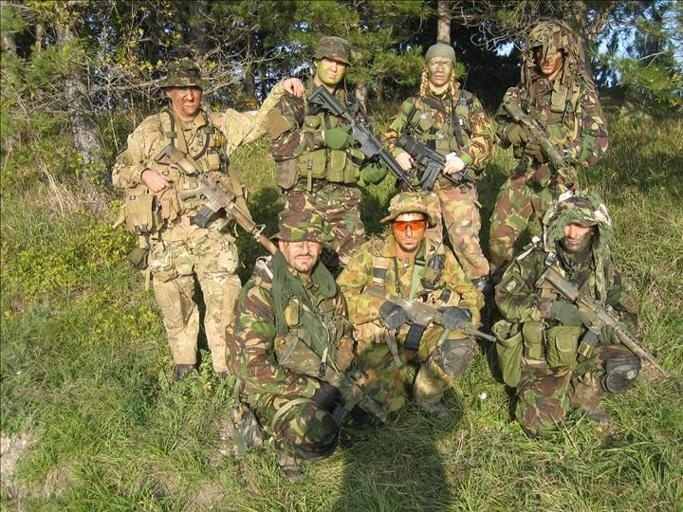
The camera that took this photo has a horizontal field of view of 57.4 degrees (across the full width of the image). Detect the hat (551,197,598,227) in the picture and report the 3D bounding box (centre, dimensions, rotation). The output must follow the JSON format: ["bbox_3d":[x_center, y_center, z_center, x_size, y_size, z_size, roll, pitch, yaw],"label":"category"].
[{"bbox_3d":[2.667,-0.496,7.182,0.509,0.264,0.353,10,33,19],"label":"hat"}]

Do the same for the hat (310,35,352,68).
[{"bbox_3d":[-0.060,-2.534,7.905,0.407,0.251,0.411,9,22,-32],"label":"hat"}]

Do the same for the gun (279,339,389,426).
[{"bbox_3d":[-0.126,1.430,6.932,1.147,1.087,0.258,3,28,8],"label":"gun"}]

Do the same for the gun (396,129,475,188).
[{"bbox_3d":[1.264,-1.300,8.342,1.009,0.445,0.142,39,4,18],"label":"gun"}]

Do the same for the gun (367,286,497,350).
[{"bbox_3d":[0.999,0.736,7.414,1.210,0.186,0.565,22,64,25],"label":"gun"}]

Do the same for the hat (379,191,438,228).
[{"bbox_3d":[0.833,-0.556,7.329,0.478,0.294,0.404,2,-5,-19],"label":"hat"}]

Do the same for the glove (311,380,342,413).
[{"bbox_3d":[-0.162,1.577,6.980,0.271,0.293,0.307,35,65,-4],"label":"glove"}]

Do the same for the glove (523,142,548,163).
[{"bbox_3d":[2.569,-1.378,8.285,0.306,0.187,0.111,46,40,13],"label":"glove"}]

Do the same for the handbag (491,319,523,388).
[{"bbox_3d":[1.971,1.164,7.405,0.362,0.964,0.683,-3,11,7],"label":"handbag"}]

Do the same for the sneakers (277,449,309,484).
[{"bbox_3d":[-0.561,2.312,6.882,0.256,0.136,0.355,-33,77,-20],"label":"sneakers"}]

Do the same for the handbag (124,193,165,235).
[{"bbox_3d":[-2.291,-0.485,7.460,0.429,0.526,0.403,-6,5,2],"label":"handbag"}]

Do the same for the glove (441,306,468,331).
[{"bbox_3d":[1.326,0.730,7.260,0.329,0.174,0.214,4,31,9],"label":"glove"}]

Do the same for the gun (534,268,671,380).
[{"bbox_3d":[3.007,0.839,7.322,1.585,0.628,0.251,44,4,5],"label":"gun"}]

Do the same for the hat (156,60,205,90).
[{"bbox_3d":[-1.882,-2.097,7.252,0.337,0.186,0.378,9,25,20],"label":"hat"}]

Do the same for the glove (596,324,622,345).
[{"bbox_3d":[3.054,0.906,7.161,0.171,0.119,0.238,29,2,19],"label":"glove"}]

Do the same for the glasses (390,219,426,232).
[{"bbox_3d":[0.782,-0.366,7.318,0.386,0.163,0.192,-1,31,2],"label":"glasses"}]

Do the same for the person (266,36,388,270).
[{"bbox_3d":[-0.194,-0.969,8.529,1.413,3.980,1.156,-1,28,-7],"label":"person"}]

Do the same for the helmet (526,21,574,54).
[{"bbox_3d":[2.716,-2.831,8.124,0.590,0.344,0.461,6,32,13],"label":"helmet"}]

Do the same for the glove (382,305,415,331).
[{"bbox_3d":[0.643,0.763,7.355,0.359,0.332,0.212,0,29,3],"label":"glove"}]
